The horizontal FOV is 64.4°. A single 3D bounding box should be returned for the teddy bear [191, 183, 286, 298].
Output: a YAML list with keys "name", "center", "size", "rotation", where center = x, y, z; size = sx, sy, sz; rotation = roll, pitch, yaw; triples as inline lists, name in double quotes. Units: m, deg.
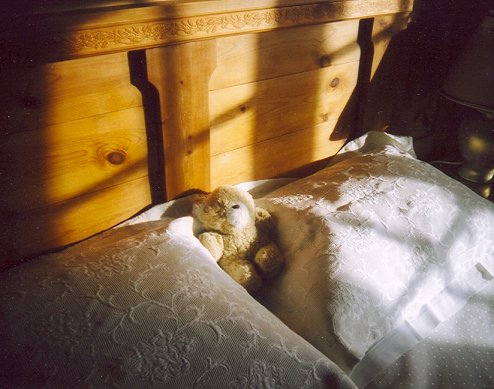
- name: "teddy bear"
  center: [-0.032, 0.106, 1.035]
  size: [0.195, 0.272, 0.262]
  rotation: [3, 19, 39]
